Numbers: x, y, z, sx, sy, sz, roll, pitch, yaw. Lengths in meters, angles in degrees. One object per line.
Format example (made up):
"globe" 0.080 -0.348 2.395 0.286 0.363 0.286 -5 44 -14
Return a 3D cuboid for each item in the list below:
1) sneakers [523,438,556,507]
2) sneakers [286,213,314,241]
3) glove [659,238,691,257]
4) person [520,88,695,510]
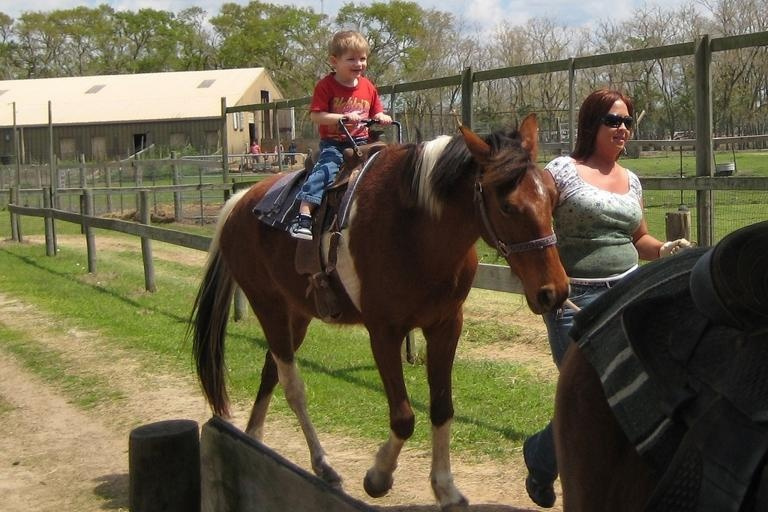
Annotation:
"sneakers" 0.925 1.386 4.725 0.147 0.493 0.198 -8 9 -2
"sneakers" -0.557 -0.188 5.258 0.091 0.105 0.232 4 -6 -15
"glove" 1.640 -0.045 4.395 0.115 0.049 0.155 -2 -3 -9
"person" 1.276 0.284 4.774 0.642 2.561 1.114 7 12 42
